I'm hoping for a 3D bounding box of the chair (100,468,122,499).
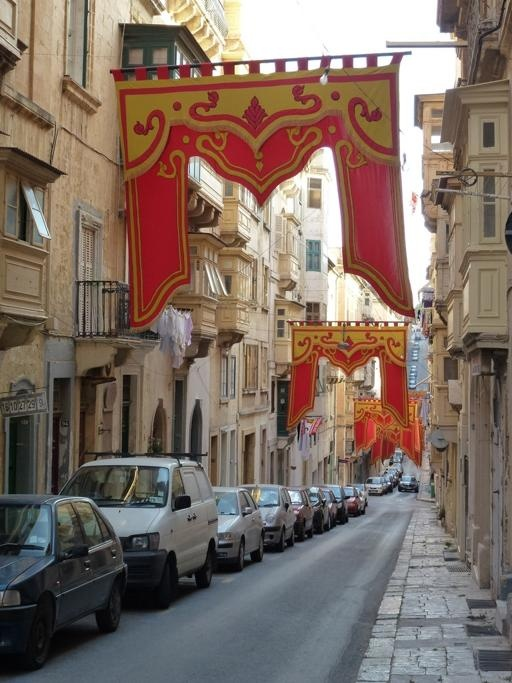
[{"bbox_3d":[-1.855,1.833,12.233,0.228,0.445,0.330,3,-22,9],"label":"chair"}]
